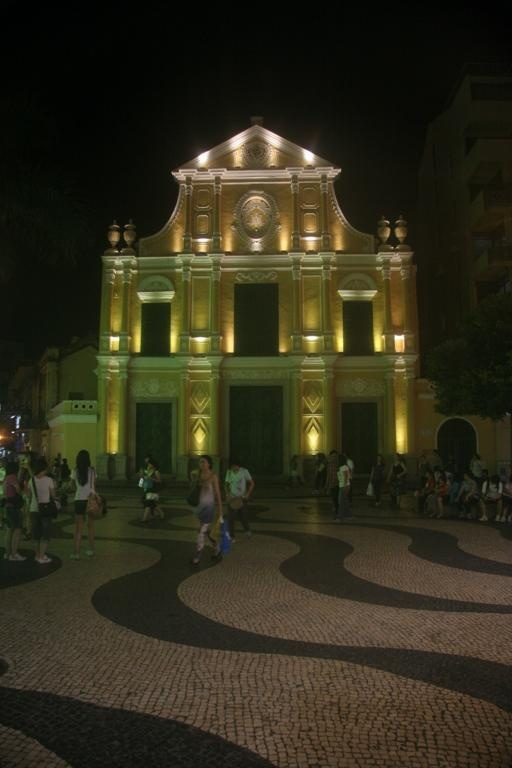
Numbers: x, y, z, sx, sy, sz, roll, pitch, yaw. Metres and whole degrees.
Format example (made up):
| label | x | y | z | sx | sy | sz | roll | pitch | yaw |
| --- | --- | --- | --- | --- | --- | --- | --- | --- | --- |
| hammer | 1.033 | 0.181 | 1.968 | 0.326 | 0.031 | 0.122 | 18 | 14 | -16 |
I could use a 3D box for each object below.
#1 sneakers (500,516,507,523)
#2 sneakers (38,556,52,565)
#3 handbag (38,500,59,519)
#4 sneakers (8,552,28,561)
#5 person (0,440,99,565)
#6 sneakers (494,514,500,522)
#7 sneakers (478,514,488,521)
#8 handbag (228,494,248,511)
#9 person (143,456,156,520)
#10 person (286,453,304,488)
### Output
| label | x | y | z | sx | sy | sz | roll | pitch | yaw |
| --- | --- | --- | --- | --- | --- | --- | --- | --- | --- |
| sneakers | 5.556 | 3.039 | 14.785 | 0.087 | 0.105 | 0.271 | -3 | -9 | 17 |
| sneakers | -3.161 | 2.622 | 9.795 | 0.094 | 0.106 | 0.228 | 8 | -7 | 11 |
| handbag | -3.078 | 1.828 | 9.623 | 0.291 | 0.300 | 0.144 | 3 | 1 | -5 |
| sneakers | -3.669 | 2.636 | 10.038 | 0.282 | 0.133 | 0.112 | 3 | -3 | -1 |
| person | -3.195 | 1.858 | 9.989 | 1.445 | 1.635 | 0.826 | -3 | -4 | 22 |
| sneakers | 5.407 | 2.996 | 14.722 | 0.103 | 0.153 | 0.178 | -2 | -4 | 16 |
| sneakers | 5.223 | 3.075 | 15.068 | 0.116 | 0.143 | 0.322 | 2 | -9 | 8 |
| handbag | -0.363 | 2.118 | 11.759 | 0.224 | 0.174 | 0.298 | 2 | -1 | 5 |
| person | -2.460 | 2.422 | 15.121 | 0.308 | 1.358 | 0.862 | 0 | -4 | -10 |
| person | 1.546 | 3.414 | 26.004 | 0.498 | 1.218 | 1.189 | -2 | -4 | 6 |
